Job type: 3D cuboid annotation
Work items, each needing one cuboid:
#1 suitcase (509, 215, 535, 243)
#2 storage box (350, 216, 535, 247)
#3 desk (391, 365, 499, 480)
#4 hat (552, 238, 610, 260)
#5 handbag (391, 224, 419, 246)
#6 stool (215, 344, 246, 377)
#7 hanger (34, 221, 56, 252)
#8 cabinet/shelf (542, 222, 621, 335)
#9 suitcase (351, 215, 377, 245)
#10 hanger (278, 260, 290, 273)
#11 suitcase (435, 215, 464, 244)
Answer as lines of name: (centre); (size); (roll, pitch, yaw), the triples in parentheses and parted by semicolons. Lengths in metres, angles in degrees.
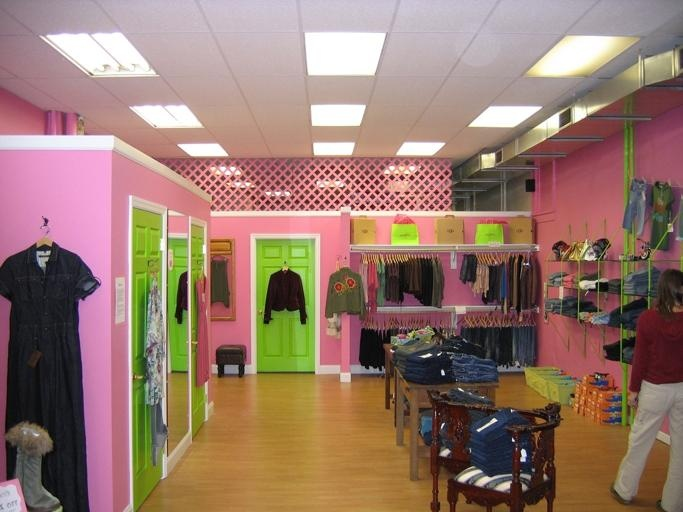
suitcase: (2.887, -0.430, 8.727); (0.319, 0.410, 0.144); (-1, 6, -8)
storage box: (1.621, -0.445, 8.993); (2.370, 0.544, 0.392); (0, -3, -5)
desk: (1.074, 1.489, 5.791); (1.029, 1.097, 1.334); (0, 0, -7)
hat: (3.223, -0.099, 7.271); (0.303, 0.360, 1.014); (-1, 6, -7)
handbag: (1.024, -0.362, 8.719); (0.562, 0.393, 0.309); (0, 4, 4)
stool: (-1.780, 1.648, 8.705); (0.469, 0.511, 0.397); (-1, 6, -7)
hanger: (-2.432, -0.191, 4.459); (0.142, 0.235, 0.137); (-2, 6, -13)
cabinet/shelf: (3.238, 0.282, 7.270); (0.507, 1.586, 1.646); (2, -2, -7)
suitcase: (0.343, -0.400, 8.730); (0.512, 0.656, 0.376); (1, 1, -1)
hanger: (-0.949, 0.146, 9.025); (0.219, 0.242, 0.019); (1, -11, 4)
suitcase: (1.728, -0.432, 8.731); (0.458, 0.469, 0.155); (0, -6, -4)
